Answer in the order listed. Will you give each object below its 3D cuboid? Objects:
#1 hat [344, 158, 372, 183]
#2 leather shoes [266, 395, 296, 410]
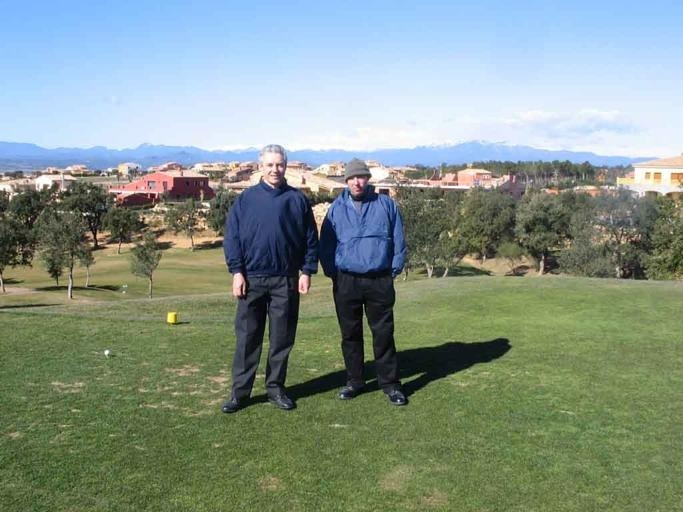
[{"bbox_3d":[0.216,-1.250,8.737,0.273,0.227,0.353,-2,-4,0],"label":"hat"},{"bbox_3d":[-0.832,2.051,8.420,0.144,0.154,0.387,-1,-4,-36],"label":"leather shoes"}]
